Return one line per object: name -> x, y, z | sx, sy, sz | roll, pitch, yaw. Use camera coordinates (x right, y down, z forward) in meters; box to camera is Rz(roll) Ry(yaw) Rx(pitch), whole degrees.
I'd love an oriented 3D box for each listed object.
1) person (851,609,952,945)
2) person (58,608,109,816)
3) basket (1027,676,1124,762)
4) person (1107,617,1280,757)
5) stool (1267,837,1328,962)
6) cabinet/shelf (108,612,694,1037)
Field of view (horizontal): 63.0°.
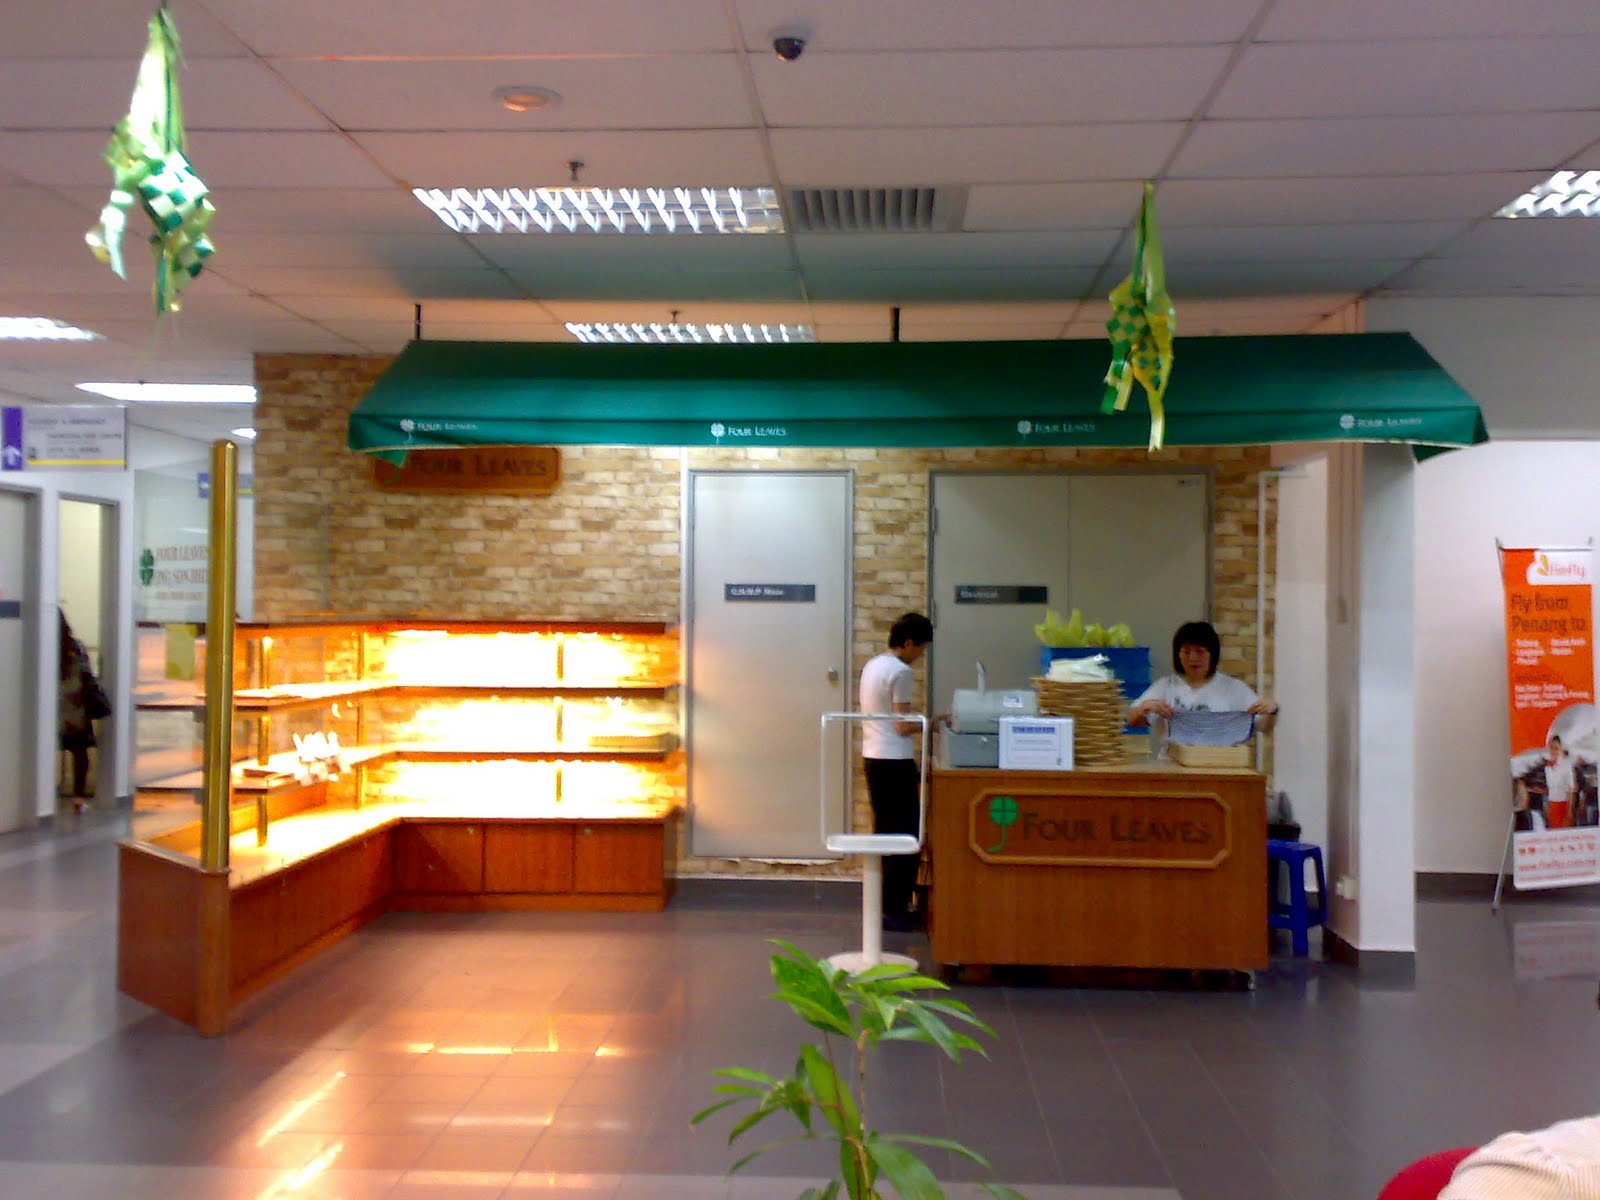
person -> 0.620, 1.069, 8.409 | 0.443, 1.998, 0.983 | 0, 4, 3
person -> -6.557, 0.989, 12.008 | 0.411, 1.879, 0.686 | -2, 5, -29
basket -> 1.573, 0.652, 7.436 | 0.451, 0.441, 0.445 | -2, 2, 2
person -> 2.348, 0.611, 7.709 | 0.710, 0.947, 0.543 | 0, 25, 19
stool -> 3.030, 1.748, 7.938 | 0.344, 0.650, 0.557 | 2, 5, 21
cabinet/shelf -> -2.179, 1.193, 8.267 | 2.538, 1.594, 2.511 | 0, 2, -3
